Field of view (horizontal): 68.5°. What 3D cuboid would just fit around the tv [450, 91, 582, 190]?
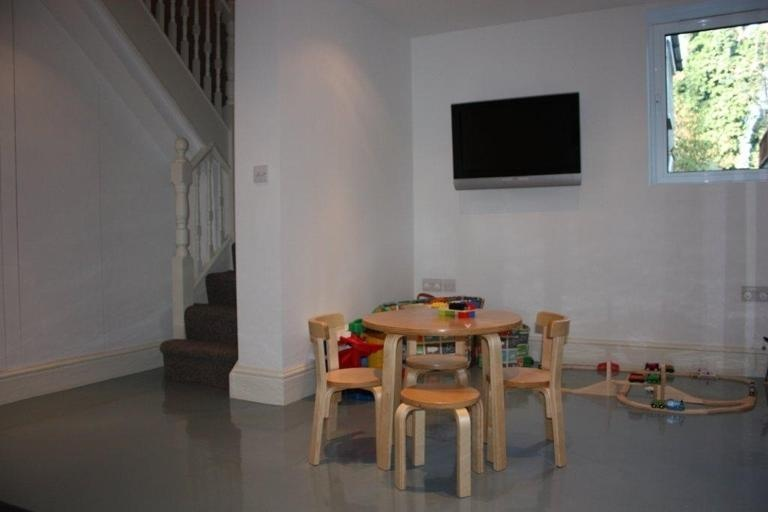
[{"bbox_3d":[1.385,-1.151,5.676,0.989,0.722,0.139,-1,5,16],"label":"tv"}]
